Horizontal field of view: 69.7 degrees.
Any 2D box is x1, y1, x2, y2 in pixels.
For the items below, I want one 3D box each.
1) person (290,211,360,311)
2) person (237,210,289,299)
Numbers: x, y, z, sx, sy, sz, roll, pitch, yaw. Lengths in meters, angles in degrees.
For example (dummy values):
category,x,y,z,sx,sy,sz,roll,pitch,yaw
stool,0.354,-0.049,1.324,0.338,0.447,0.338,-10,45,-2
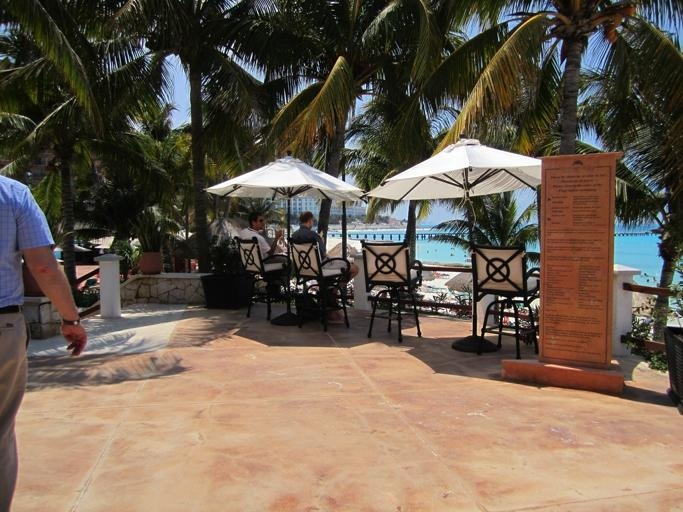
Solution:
category,x,y,z,sx,sy,sz,roll,pitch,yaw
person,-0.316,-0.141,8.334,1.131,1.229,0.872,0,4,0
person,-1.306,-0.078,9.420,0.822,1.563,0.759,-13,16,7
